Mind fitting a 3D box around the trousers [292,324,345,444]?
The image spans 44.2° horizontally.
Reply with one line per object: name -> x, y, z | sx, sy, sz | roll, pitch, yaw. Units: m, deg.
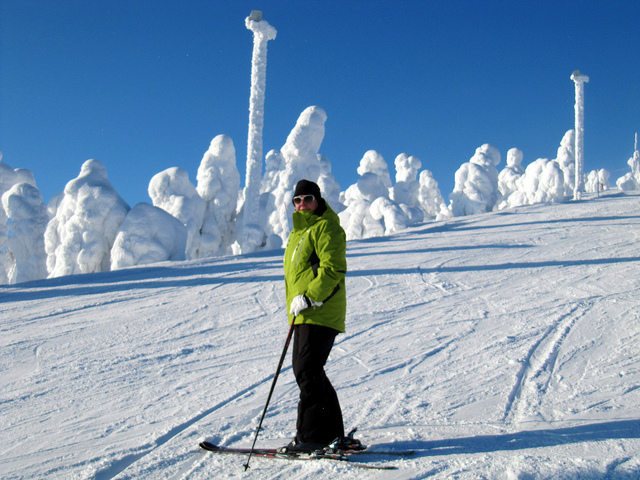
trousers -> -0.010, 2.053, 11.321 | 0.644, 1.685, 0.394 | -2, 10, 1

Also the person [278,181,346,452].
person -> -0.036, 1.084, 11.360 | 0.875, 3.806, 0.927 | -2, 10, -2

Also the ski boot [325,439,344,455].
ski boot -> 0.222, 2.965, 11.229 | 0.240, 0.169, 0.151 | -5, 10, -15
